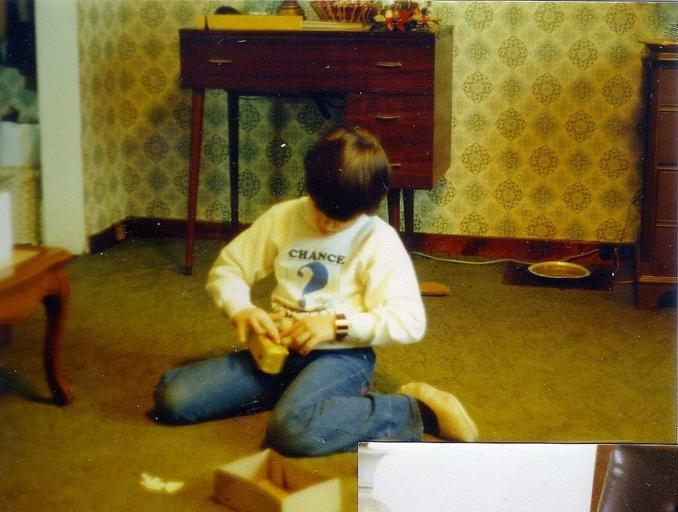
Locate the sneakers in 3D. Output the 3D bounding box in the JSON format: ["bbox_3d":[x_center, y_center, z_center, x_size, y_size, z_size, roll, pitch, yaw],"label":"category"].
[{"bbox_3d":[0.218,0.333,1.300,0.160,0.092,0.052,21,27,17],"label":"sneakers"}]

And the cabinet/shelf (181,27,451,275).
[{"bbox_3d":[-0.059,-0.254,1.459,0.594,0.520,0.358,3,14,3],"label":"cabinet/shelf"}]
